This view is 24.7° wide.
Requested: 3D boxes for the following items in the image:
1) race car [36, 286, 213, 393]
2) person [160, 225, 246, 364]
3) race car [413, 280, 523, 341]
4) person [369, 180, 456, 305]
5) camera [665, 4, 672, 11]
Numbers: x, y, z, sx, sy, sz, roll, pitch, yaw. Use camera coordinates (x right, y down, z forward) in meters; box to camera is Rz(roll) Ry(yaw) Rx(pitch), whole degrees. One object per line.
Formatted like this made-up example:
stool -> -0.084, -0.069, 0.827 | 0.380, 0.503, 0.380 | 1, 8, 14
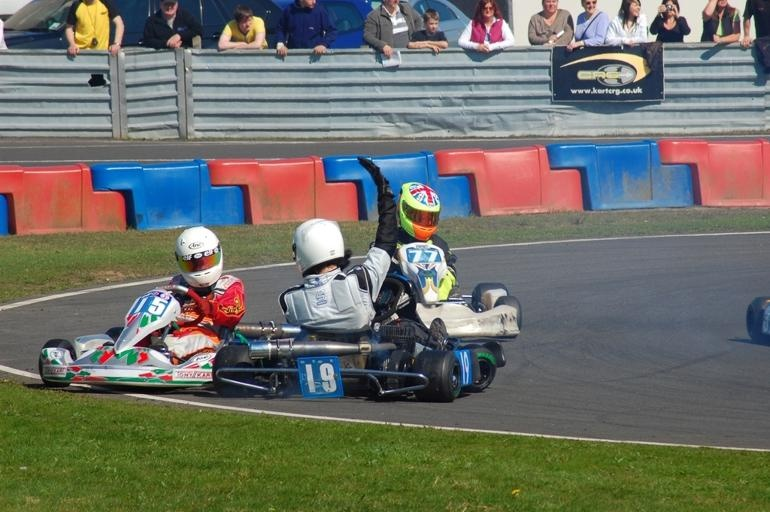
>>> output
race car -> -2.982, 0.948, 20.245 | 1.876, 1.125, 2.824 | 1, -2, -5
person -> -2.198, 0.583, 19.854 | 1.107, 1.707, 1.069 | 4, 8, 27
race car -> 0.814, 0.718, 20.999 | 1.623, 0.530, 1.222 | 0, -3, -27
person -> 0.492, -0.111, 20.556 | 1.006, 1.407, 1.373 | 0, 5, -9
camera -> 4.907, -4.159, 29.694 | 0.101, 0.034, 0.098 | 11, 26, 18
